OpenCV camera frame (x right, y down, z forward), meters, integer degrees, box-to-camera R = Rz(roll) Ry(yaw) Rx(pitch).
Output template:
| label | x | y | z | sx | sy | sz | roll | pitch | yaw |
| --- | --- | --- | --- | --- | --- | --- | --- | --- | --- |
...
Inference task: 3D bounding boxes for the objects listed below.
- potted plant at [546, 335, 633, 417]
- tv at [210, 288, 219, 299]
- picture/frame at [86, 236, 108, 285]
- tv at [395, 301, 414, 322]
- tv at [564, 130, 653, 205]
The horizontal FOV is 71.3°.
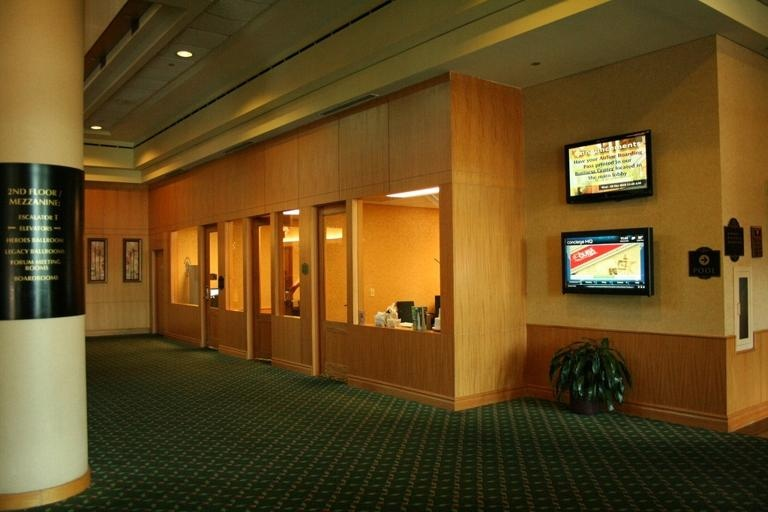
| label | x | y | z | sx | sy | sz | roll | pitch | yaw |
| --- | --- | --- | --- | --- | --- | --- | --- | --- | --- |
| potted plant | 2.791 | 1.496 | 7.090 | 1.012 | 0.906 | 0.977 | 3 | -6 | -33 |
| tv | -4.009 | 0.886 | 12.711 | 0.081 | 0.253 | 0.285 | 1 | -1 | -42 |
| picture/frame | -8.298 | 0.128 | 15.591 | 0.511 | 1.270 | 0.108 | 1 | -1 | -25 |
| tv | 0.324 | 0.849 | 8.102 | 0.242 | 0.302 | 0.274 | 0 | -1 | 0 |
| tv | 2.973 | -1.147 | 6.980 | 1.085 | 0.773 | 0.110 | -1 | 0 | 39 |
